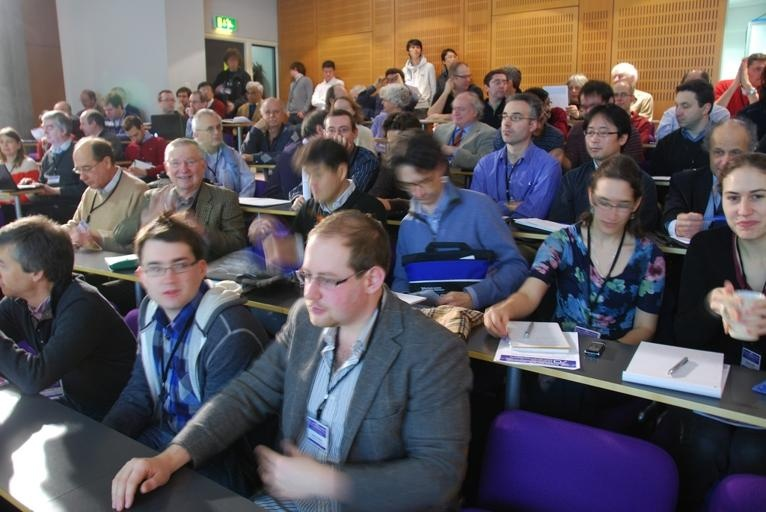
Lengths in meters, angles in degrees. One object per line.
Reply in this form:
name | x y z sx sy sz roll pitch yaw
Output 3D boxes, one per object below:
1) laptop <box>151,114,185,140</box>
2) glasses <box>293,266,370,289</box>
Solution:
laptop | -2.997 -1.840 8.169 0.540 0.363 0.385 8 21 16
glasses | -0.210 0.078 2.151 0.286 0.064 0.086 2 17 18
